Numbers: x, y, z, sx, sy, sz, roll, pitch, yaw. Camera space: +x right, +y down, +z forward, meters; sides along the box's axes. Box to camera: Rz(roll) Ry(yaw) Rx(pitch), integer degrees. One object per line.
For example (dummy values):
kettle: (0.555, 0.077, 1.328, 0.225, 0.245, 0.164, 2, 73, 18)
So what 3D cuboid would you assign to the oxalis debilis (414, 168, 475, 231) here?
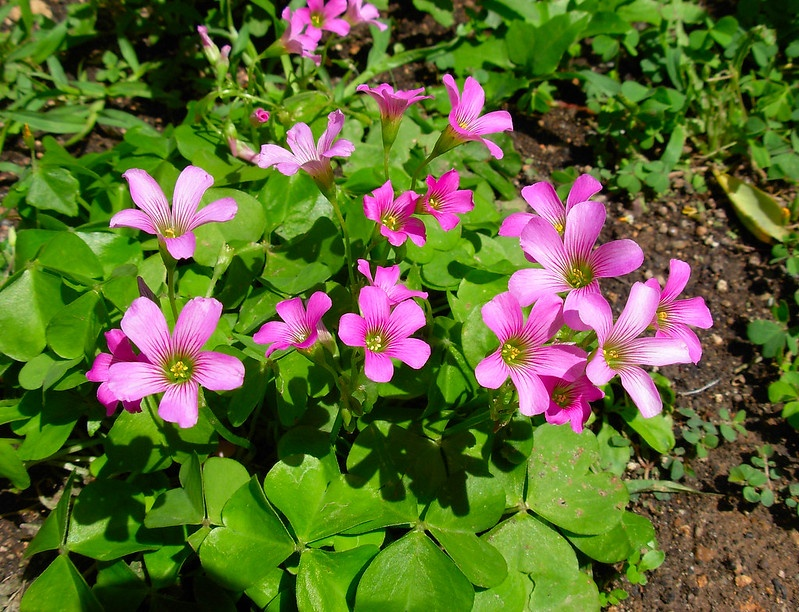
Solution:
oxalis debilis: (0.146, -0.378, 2.348, 0.187, 0.181, 0.082, 24, 67, -39)

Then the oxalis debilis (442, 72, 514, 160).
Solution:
oxalis debilis: (0.226, -0.623, 2.312, 0.254, 0.127, 0.291, -11, 89, -40)

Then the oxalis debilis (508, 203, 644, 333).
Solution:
oxalis debilis: (0.534, -0.115, 2.016, 0.401, 0.217, 0.428, -1, 50, -22)

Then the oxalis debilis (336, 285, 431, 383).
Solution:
oxalis debilis: (-0.027, 0.069, 2.024, 0.236, 0.174, 0.261, 38, 42, 29)

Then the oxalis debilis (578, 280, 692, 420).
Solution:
oxalis debilis: (0.679, 0.120, 1.985, 0.336, 0.277, 0.272, -2, 38, -21)

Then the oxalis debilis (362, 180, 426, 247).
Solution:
oxalis debilis: (-0.028, -0.266, 2.227, 0.207, 0.220, 0.137, -5, 38, -24)

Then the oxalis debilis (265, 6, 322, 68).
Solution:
oxalis debilis: (-0.369, -1.013, 2.618, 0.127, 0.165, 0.159, 26, 37, 18)

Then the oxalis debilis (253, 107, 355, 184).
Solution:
oxalis debilis: (-0.266, -0.481, 2.247, 0.340, 0.305, 0.156, -15, 79, -44)

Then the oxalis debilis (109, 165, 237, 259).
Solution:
oxalis debilis: (-0.702, -0.236, 2.185, 0.321, 0.408, 0.237, 8, 52, -30)

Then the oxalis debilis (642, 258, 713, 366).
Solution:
oxalis debilis: (0.792, 0.015, 2.116, 0.323, 0.127, 0.315, 6, 73, -43)

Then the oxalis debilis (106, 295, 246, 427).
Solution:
oxalis debilis: (-0.635, 0.196, 2.021, 0.410, 0.134, 0.426, -14, 91, -50)

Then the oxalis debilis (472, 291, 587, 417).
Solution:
oxalis debilis: (0.378, 0.151, 1.999, 0.325, 0.281, 0.255, 10, 35, -5)
